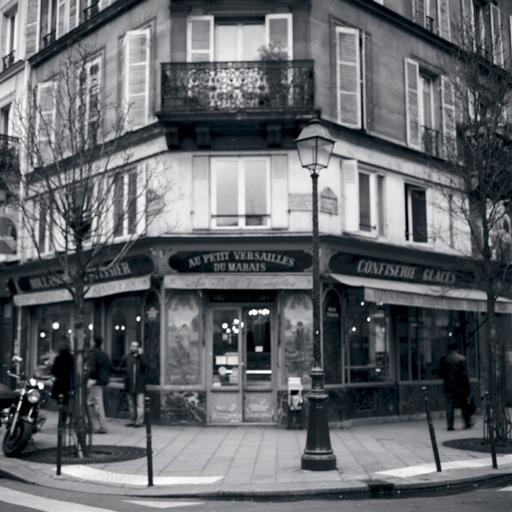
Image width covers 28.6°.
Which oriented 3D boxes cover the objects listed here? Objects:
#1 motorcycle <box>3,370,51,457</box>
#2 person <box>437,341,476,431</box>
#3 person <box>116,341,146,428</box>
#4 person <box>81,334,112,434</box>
[{"bbox_3d":[-4.256,2.928,18.517,0.707,1.095,1.470,22,-7,-17],"label":"motorcycle"},{"bbox_3d":[4.433,2.861,22.194,0.687,1.929,0.945,-2,-8,13],"label":"person"},{"bbox_3d":[-2.755,2.876,22.622,0.387,1.881,1.475,2,-8,-16],"label":"person"},{"bbox_3d":[-3.346,2.702,21.276,0.471,2.062,1.082,1,-8,-9],"label":"person"}]
